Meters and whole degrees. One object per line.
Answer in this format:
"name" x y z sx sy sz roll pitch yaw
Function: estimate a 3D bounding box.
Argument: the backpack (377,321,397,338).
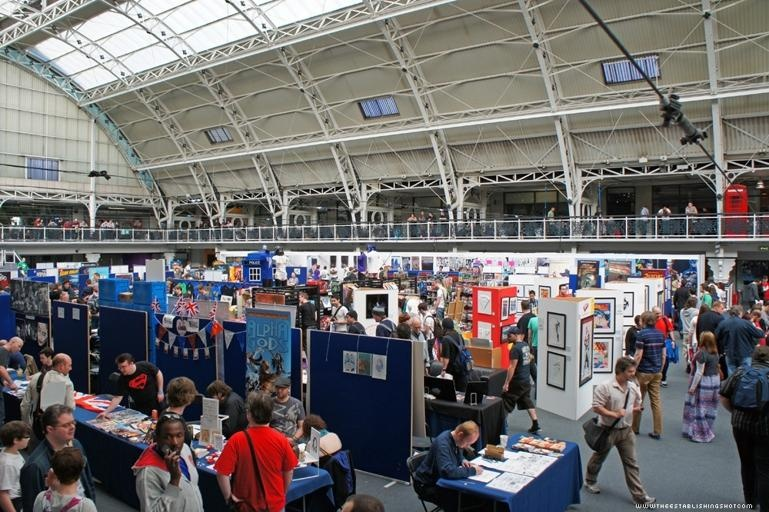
"backpack" 0.029 1.760 15.161 0.301 0.440 0.595 -4 0 27

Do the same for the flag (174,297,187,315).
"flag" -4.877 1.198 14.962 0.358 0.382 0.090 1 -1 36

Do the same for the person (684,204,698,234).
"person" 13.610 -1.610 27.702 0.454 1.339 0.630 -1 -4 27

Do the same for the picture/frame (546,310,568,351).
"picture/frame" 4.260 1.832 15.459 0.122 0.891 0.611 3 -4 -31

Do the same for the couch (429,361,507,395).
"couch" 1.935 2.768 14.134 1.171 0.847 2.477 -1 -4 28

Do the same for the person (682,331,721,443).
"person" 7.233 2.939 14.112 0.769 2.500 0.844 0 -4 8

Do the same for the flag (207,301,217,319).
"flag" -4.018 1.251 14.563 0.142 0.421 0.351 3 -4 -33

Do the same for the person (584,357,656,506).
"person" 4.588 3.407 12.385 1.218 2.888 0.775 0 -4 18

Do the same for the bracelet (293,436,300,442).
"bracelet" -1.665 3.457 11.823 0.120 0.079 0.117 17 -14 -43

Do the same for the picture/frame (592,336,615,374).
"picture/frame" 5.587 2.522 16.085 1.035 1.051 0.048 -1 -1 -39

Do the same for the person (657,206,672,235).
"person" 12.699 -1.580 28.419 0.590 1.325 0.846 -1 -4 21

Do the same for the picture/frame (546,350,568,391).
"picture/frame" 4.257 2.837 15.535 0.130 0.885 0.643 3 -4 -32

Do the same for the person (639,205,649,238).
"person" 12.068 -1.577 29.177 0.453 1.470 1.417 -1 -4 22

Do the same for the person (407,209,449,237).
"person" 2.460 -1.630 34.068 2.387 1.314 0.871 -2 -5 40

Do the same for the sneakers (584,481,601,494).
"sneakers" 4.186 4.668 12.631 0.130 0.232 0.341 1 -9 -25

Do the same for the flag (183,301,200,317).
"flag" -4.595 1.257 14.854 0.352 0.357 0.098 -6 1 25

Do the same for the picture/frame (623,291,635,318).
"picture/frame" 6.662 1.279 17.122 0.727 0.773 0.053 -1 3 -35

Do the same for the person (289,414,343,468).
"person" -1.337 3.464 11.866 0.726 0.956 0.363 2 -14 -22

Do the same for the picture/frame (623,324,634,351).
"picture/frame" 5.910 2.006 15.023 0.207 0.659 0.649 -1 -4 22

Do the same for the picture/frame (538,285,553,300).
"picture/frame" 4.730 1.054 18.404 0.360 0.319 0.028 -4 1 3

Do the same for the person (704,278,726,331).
"person" 9.505 1.396 18.027 0.571 1.782 0.787 2 -4 32

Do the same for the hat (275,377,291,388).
"hat" -1.941 2.376 11.861 0.269 0.231 0.194 1 -4 -10

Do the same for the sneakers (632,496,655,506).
"sneakers" 5.086 4.758 12.220 0.332 0.144 0.196 -6 2 -3

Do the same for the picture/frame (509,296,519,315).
"picture/frame" 3.796 1.449 18.528 0.068 0.576 0.660 -1 2 28

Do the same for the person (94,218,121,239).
"person" -18.747 -1.670 42.011 0.816 1.272 1.884 -1 -4 24

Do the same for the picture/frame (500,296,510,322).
"picture/frame" 3.443 1.495 18.065 0.055 0.804 0.689 2 6 33

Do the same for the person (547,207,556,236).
"person" 8.103 -1.634 30.408 0.295 1.212 0.398 3 -4 -33

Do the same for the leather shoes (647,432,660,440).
"leather shoes" 6.176 4.108 14.355 0.088 0.105 0.242 -1 7 -27

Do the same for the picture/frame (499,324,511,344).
"picture/frame" 3.329 2.166 17.421 0.075 0.536 0.754 3 -1 30

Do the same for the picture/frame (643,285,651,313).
"picture/frame" 7.598 1.238 18.164 0.101 1.051 0.763 -1 -1 29
